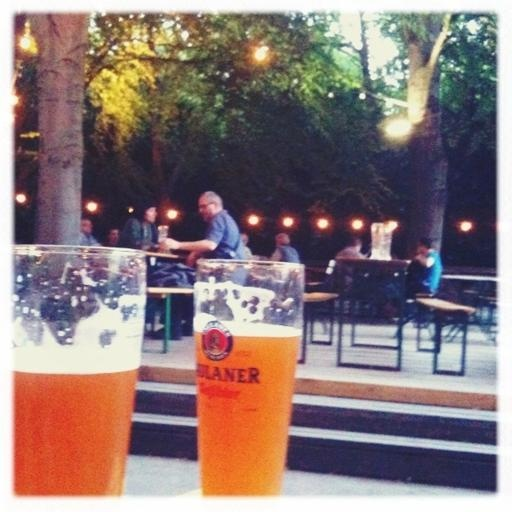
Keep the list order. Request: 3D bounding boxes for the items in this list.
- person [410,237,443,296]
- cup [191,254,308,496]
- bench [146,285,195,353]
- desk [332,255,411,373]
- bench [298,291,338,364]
[{"bbox_3d":[1.575,0.104,6.748,0.282,0.536,0.802,3,-1,14],"label":"person"},{"bbox_3d":[-0.020,0.200,1.204,0.184,0.383,0.130,3,0,3],"label":"cup"},{"bbox_3d":[-0.624,0.450,5.150,0.407,0.563,0.433,2,-9,-6],"label":"bench"},{"bbox_3d":[0.909,0.394,5.552,0.525,1.020,0.740,5,22,10],"label":"desk"},{"bbox_3d":[0.568,0.477,6.017,0.357,0.630,0.437,-6,8,5],"label":"bench"}]
